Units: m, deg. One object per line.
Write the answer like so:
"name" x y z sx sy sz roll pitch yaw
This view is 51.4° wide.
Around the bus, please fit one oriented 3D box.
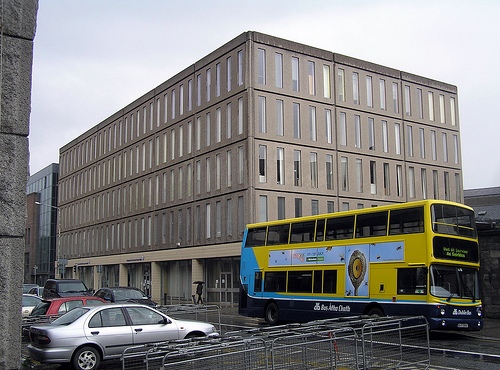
"bus" 4.107 3.864 22.935 3.330 4.942 11.306 14 -18 -37
